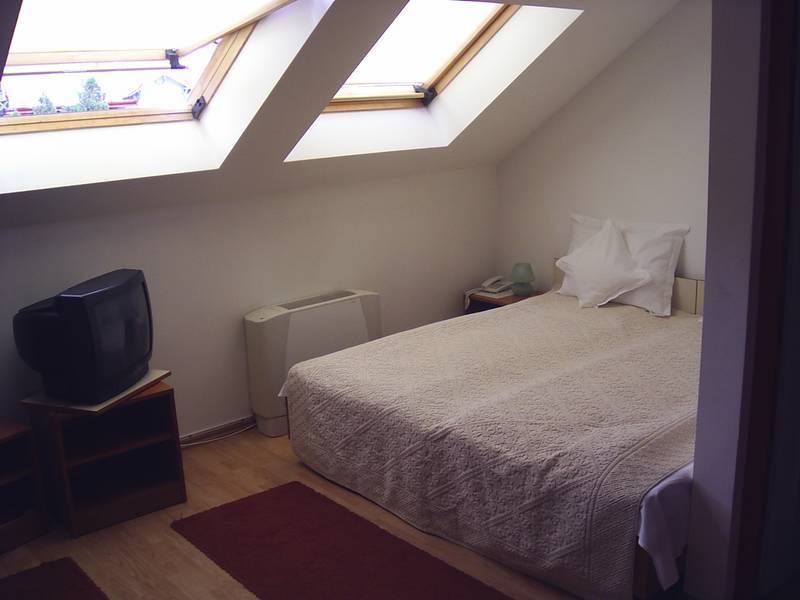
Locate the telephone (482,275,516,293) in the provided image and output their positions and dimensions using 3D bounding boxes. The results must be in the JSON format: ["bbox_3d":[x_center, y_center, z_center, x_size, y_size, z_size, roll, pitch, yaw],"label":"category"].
[{"bbox_3d":[0.766,-0.115,4.465,0.152,0.060,0.161,-16,20,-37],"label":"telephone"}]

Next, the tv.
[{"bbox_3d":[-1.337,0.134,2.662,0.527,0.559,0.588,8,18,11],"label":"tv"}]
